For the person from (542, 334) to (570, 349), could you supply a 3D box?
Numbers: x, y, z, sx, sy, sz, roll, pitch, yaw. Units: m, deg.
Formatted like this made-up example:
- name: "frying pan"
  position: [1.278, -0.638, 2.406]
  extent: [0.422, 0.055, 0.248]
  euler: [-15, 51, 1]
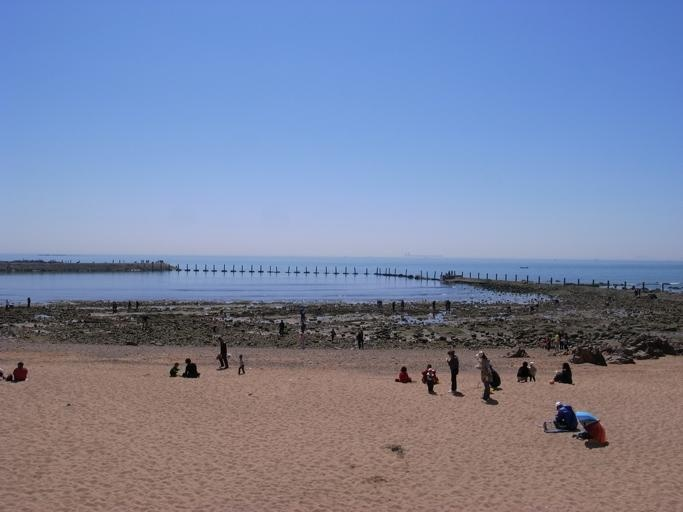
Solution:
- name: "person"
  position: [12.758, 5.066, 50.927]
  extent: [1.326, 0.447, 1.505]
  euler: [0, 0, 15]

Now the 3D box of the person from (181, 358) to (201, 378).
- name: "person"
  position: [-7.220, 5.349, 41.032]
  extent: [1.216, 0.982, 0.718]
  euler: [-2, 7, -18]

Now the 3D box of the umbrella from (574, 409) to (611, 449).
- name: "umbrella"
  position: [9.298, 6.418, 31.737]
  extent: [1.168, 1.162, 0.891]
  euler: [-2, -2, 12]
